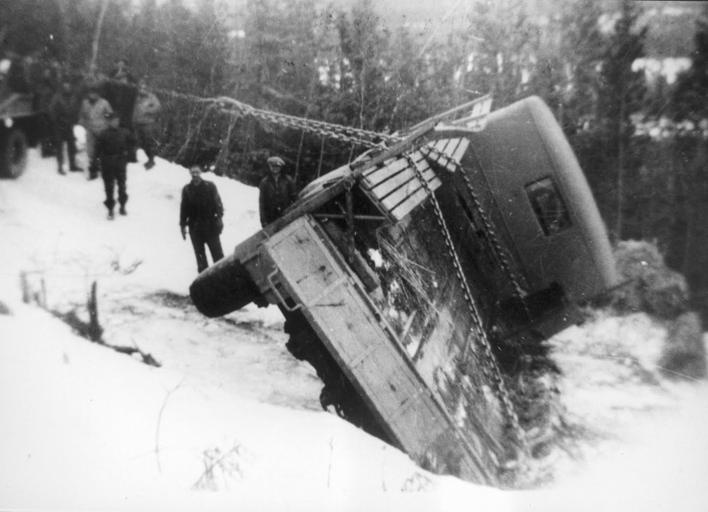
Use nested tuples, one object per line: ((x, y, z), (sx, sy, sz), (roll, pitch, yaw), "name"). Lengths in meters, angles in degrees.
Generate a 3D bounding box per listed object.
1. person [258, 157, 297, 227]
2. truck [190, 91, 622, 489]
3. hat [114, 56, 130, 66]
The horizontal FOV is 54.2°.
((-0.706, -0.442, 6.439), (0.332, 0.961, 0.237), (-7, -18, 0), "person")
((1.135, -0.292, 7.474), (2.227, 2.730, 4.665), (-37, 1, 22), "truck")
((-2.124, -1.787, 6.352), (0.069, 0.087, 0.043), (13, 3, -4), "hat")
